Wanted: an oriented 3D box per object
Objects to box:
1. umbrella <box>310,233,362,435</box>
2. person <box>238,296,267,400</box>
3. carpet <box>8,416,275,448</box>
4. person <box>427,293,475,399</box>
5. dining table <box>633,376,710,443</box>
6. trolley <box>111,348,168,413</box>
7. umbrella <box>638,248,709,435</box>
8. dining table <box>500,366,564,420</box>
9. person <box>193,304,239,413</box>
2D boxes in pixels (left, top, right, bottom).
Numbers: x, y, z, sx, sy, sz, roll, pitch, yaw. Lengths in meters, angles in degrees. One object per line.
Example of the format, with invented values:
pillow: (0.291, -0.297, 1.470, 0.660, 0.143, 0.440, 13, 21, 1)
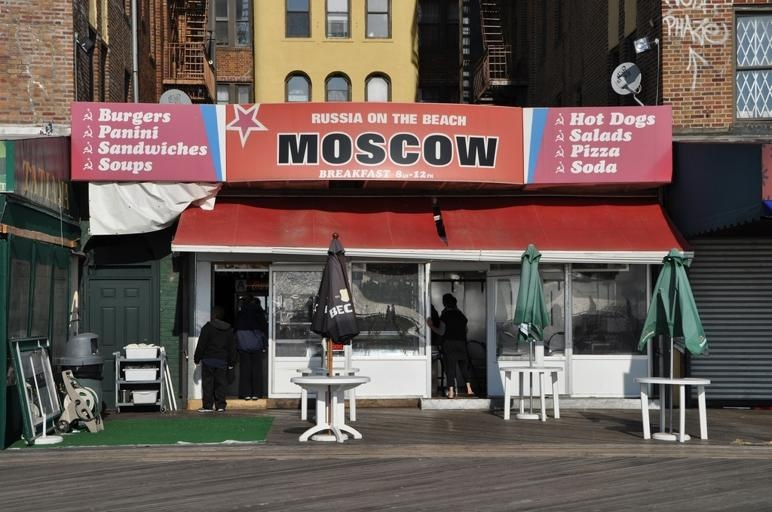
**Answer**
umbrella: (-1.050, 1.039, 22.466, 0.958, 3.295, 1.171, -8, -8, 39)
person: (-3.035, 2.098, 25.517, 0.654, 2.123, 0.613, 1, 7, -1)
carpet: (-4.241, 3.508, 22.812, 3.802, 0.382, 2.871, -2, -4, -4)
person: (1.500, 2.002, 26.095, 0.968, 2.509, 1.200, 7, 6, 40)
dining table: (5.581, 2.970, 22.350, 1.384, 1.094, 1.363, -2, -4, 14)
trolley: (-5.420, 2.712, 24.927, 0.853, 1.652, 0.983, 2, 2, -8)
umbrella: (5.538, 1.875, 22.387, 1.348, 3.673, 1.371, 8, 18, 17)
dining table: (3.170, 2.873, 24.755, 1.302, 1.406, 1.006, 1, -7, -7)
person: (-3.798, 2.254, 25.166, 0.800, 2.086, 0.861, 4, 7, 5)
